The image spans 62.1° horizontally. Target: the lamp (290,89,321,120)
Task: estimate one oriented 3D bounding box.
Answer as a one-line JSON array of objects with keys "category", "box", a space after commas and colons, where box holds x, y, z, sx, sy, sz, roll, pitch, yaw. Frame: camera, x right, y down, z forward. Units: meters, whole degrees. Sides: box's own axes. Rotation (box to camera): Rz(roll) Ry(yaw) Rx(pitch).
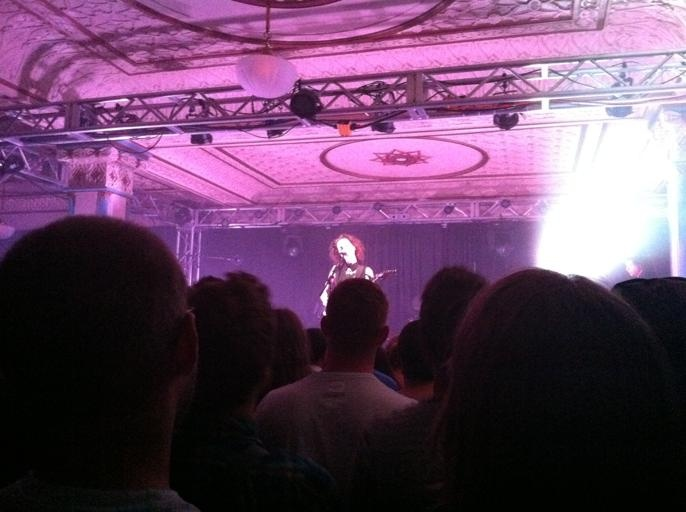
[{"category": "lamp", "box": [-0.347, -1.537, 5.780, 0.329, 0.275, 0.328, 11, 22, 0]}]
